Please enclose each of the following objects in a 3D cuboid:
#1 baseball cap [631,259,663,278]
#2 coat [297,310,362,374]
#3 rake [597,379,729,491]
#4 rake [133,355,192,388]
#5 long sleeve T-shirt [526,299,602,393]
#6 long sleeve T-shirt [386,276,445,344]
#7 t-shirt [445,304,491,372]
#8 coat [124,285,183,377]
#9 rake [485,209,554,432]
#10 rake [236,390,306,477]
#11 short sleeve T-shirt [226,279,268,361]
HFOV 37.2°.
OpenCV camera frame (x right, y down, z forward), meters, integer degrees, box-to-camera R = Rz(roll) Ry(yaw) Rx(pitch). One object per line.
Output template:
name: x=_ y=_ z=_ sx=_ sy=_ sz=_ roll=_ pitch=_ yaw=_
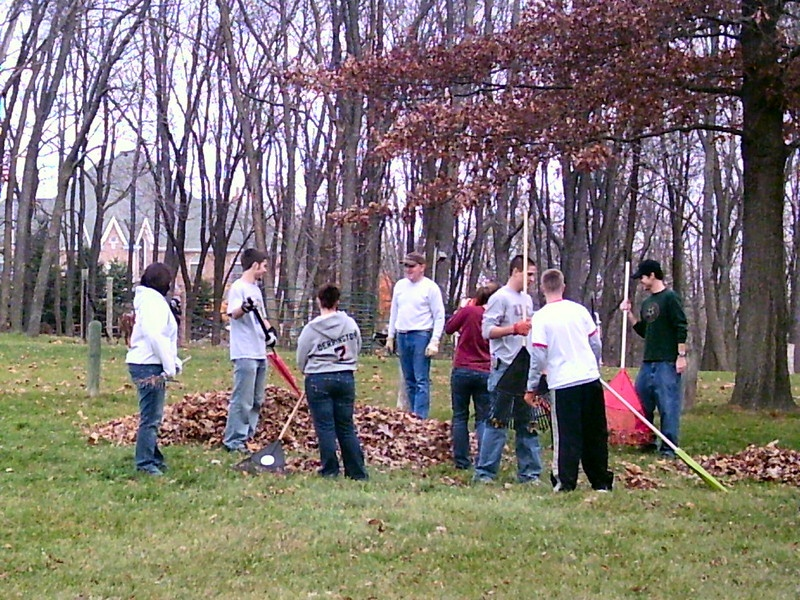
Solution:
baseball cap: x=4.381 y=-0.534 z=20.916 sx=0.408 sy=0.262 sz=0.305 roll=-3 pitch=6 yaw=20
coat: x=-1.107 y=0.679 z=19.156 sx=1.131 sy=1.073 sz=0.635 roll=-8 pitch=21 yaw=-17
rake: x=4.436 y=2.267 z=19.721 sx=1.265 sy=1.279 sz=2.546 roll=-4 pitch=14 yaw=-23
rake: x=-4.007 y=1.227 z=19.913 sx=1.376 sy=0.233 sz=0.373 roll=-23 pitch=2 yaw=-4
long sleeve T-shirt: x=2.618 y=0.661 z=18.785 sx=1.347 sy=1.426 sz=0.774 roll=-13 pitch=8 yaw=-26
long sleeve T-shirt: x=0.295 y=0.186 z=22.047 sx=1.123 sy=1.278 sz=0.607 roll=8 pitch=14 yaw=28
t-shirt: x=1.225 y=0.578 z=19.908 sx=0.888 sy=1.087 sz=0.711 roll=-1 pitch=10 yaw=-41
coat: x=-3.949 y=0.476 z=19.226 sx=0.933 sy=1.450 sz=1.303 roll=3 pitch=-1 yaw=-13
rake: x=2.131 y=0.255 z=19.365 sx=1.170 sy=3.718 sz=1.177 roll=3 pitch=1 yaw=-15
rake: x=-1.908 y=2.133 z=18.909 sx=0.851 sy=2.252 sz=0.112 roll=13 pitch=45 yaw=-17
short sleeve T-shirt: x=-2.544 y=0.338 z=19.846 sx=0.658 sy=1.365 sz=0.496 roll=-4 pitch=13 yaw=-22
